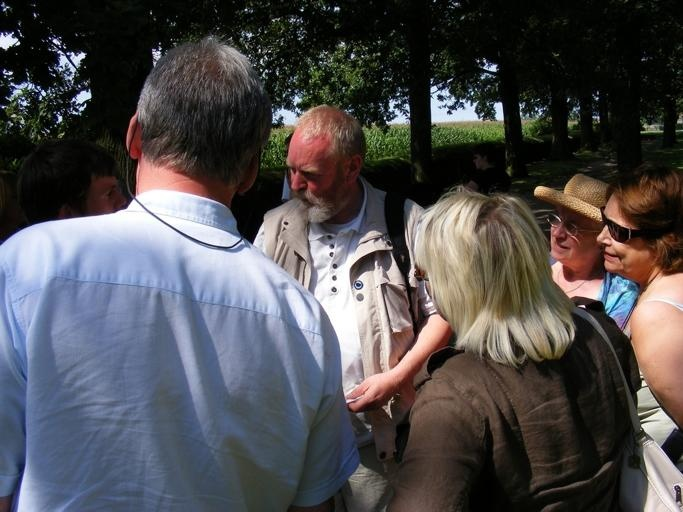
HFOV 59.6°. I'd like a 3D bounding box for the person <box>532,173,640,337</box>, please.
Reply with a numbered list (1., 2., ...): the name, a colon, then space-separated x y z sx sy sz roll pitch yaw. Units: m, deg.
1. person: 1.384 0.004 3.485 0.511 0.976 0.726 -2 14 -18
